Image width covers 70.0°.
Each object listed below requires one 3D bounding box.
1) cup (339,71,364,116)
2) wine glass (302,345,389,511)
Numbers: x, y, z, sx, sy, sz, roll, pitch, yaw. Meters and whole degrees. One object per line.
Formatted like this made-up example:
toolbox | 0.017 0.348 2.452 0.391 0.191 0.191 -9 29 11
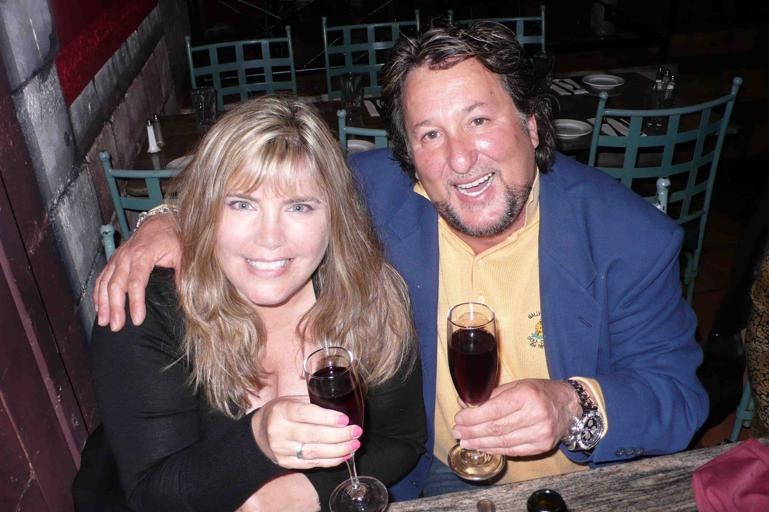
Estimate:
cup | -0.256 -1.233 4.146 0.173 0.274 0.177 -1 12 0
wine glass | -0.129 0.532 1.694 0.196 0.509 0.313 -8 16 -11
